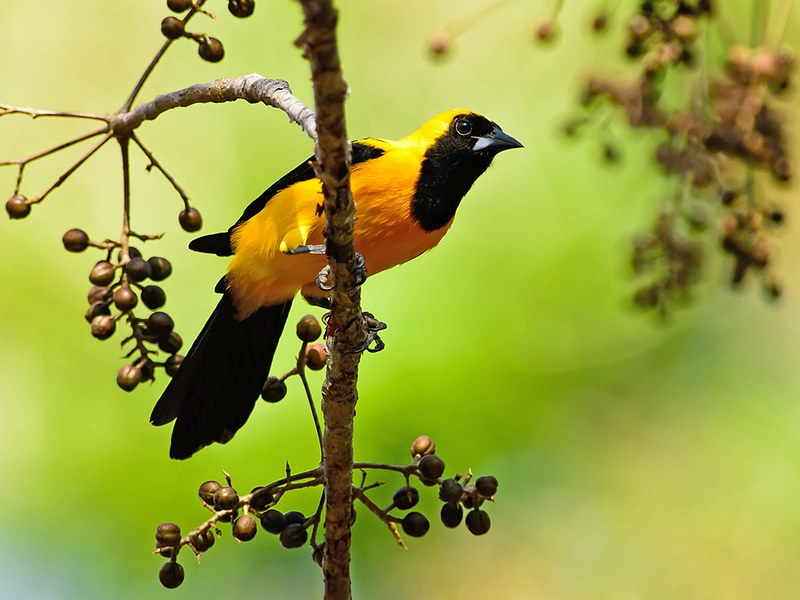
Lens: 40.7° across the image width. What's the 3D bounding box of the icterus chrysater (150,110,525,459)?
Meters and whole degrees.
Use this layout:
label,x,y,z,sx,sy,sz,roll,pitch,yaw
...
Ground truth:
label,x,y,z,sx,sy,sz,roll,pitch,yaw
icterus chrysater,-0.342,0.028,3.859,1.356,0.555,0.501,-31,-49,5
